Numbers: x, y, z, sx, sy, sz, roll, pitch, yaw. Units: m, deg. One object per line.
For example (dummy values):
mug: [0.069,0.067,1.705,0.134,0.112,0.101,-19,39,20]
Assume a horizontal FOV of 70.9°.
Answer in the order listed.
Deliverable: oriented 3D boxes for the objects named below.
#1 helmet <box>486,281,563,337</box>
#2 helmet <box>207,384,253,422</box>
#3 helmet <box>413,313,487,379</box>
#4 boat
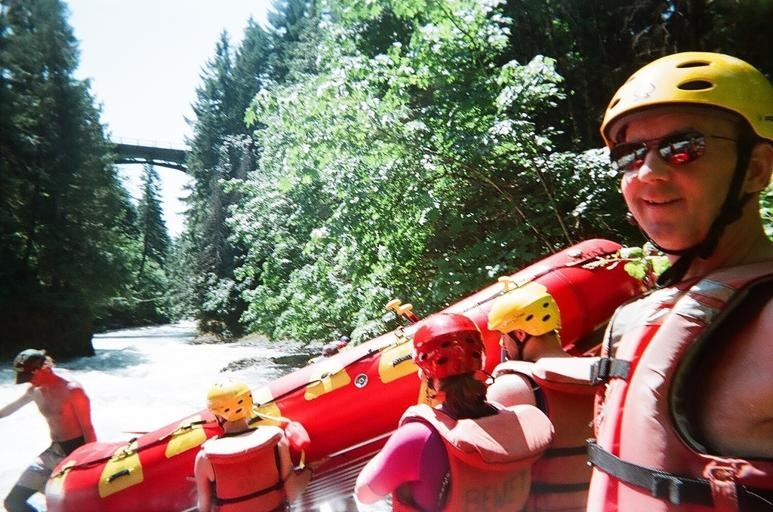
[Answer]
helmet: [0.999,0.419,3.954,0.424,0.346,0.343,-32,-2,14]
helmet: [-1.249,1.185,4.354,0.288,0.252,0.322,-3,6,-26]
helmet: [0.374,0.524,3.318,0.303,0.375,0.402,-9,13,0]
boat: [-1.196,1.311,6.962,5.951,1.302,2.085,-27,1,5]
